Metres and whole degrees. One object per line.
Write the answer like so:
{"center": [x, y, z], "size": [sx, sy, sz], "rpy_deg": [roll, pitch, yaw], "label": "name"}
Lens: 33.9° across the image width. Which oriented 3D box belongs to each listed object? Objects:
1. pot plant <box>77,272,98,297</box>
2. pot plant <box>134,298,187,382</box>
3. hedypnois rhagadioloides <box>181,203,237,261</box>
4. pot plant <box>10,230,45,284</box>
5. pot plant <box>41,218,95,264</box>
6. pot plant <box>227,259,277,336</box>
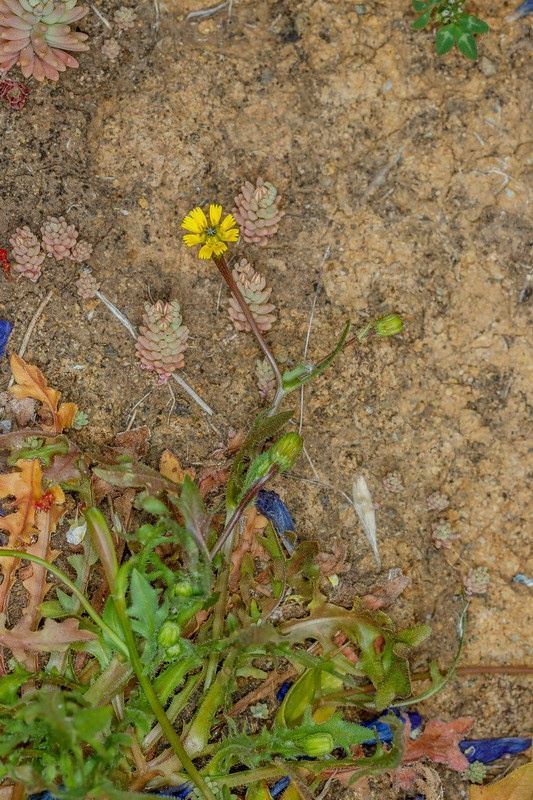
{"center": [-0.507, -0.326, 2.477], "size": [0.053, 0.045, 0.062], "rpy_deg": [1, 72, 2], "label": "pot plant"}
{"center": [-0.298, -0.164, 2.480], "size": [0.135, 0.128, 0.190], "rpy_deg": [8, 104, 38], "label": "pot plant"}
{"center": [-0.161, -0.465, 2.373], "size": [0.148, 0.070, 0.153], "rpy_deg": [20, 74, 8], "label": "hedypnois rhagadioloides"}
{"center": [-0.672, -0.418, 2.418], "size": [0.051, 0.139, 0.079], "rpy_deg": [-34, 52, 25], "label": "pot plant"}
{"center": [-0.561, -0.440, 2.440], "size": [0.141, 0.051, 0.093], "rpy_deg": [40, 80, -13], "label": "pot plant"}
{"center": [-0.035, -0.287, 2.416], "size": [0.145, 0.076, 0.194], "rpy_deg": [-5, 108, -3], "label": "pot plant"}
